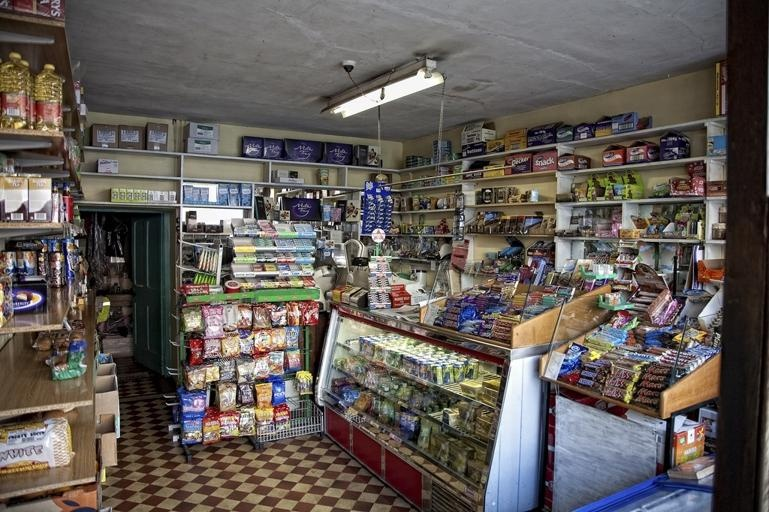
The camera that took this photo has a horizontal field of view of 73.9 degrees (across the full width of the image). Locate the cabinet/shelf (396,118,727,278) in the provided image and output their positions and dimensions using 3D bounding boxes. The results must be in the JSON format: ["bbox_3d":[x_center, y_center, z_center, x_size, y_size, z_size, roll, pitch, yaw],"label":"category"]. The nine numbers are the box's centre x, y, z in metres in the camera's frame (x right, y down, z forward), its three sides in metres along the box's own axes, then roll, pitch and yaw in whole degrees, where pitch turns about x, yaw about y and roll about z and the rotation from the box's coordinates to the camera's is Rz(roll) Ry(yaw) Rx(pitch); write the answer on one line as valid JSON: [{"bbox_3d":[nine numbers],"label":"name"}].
[{"bbox_3d":[2.051,-0.613,6.260,0.677,1.631,3.774,-5,8,-40],"label":"cabinet/shelf"}]

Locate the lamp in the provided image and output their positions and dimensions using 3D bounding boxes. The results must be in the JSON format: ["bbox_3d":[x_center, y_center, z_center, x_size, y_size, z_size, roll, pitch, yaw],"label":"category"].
[{"bbox_3d":[-0.033,-1.776,5.400,0.316,0.337,1.658,-5,7,-38],"label":"lamp"}]
